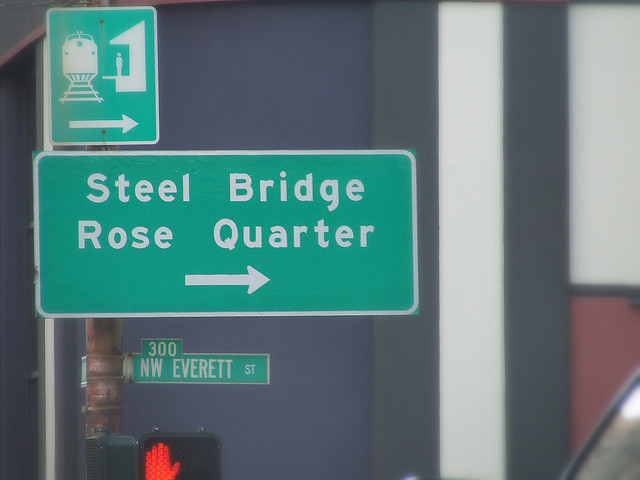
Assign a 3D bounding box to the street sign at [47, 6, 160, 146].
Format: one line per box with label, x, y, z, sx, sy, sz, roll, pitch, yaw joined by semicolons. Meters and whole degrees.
street sign;-1.725;-1.304;15.334;1.006;1.310;0.161;0;2;1
